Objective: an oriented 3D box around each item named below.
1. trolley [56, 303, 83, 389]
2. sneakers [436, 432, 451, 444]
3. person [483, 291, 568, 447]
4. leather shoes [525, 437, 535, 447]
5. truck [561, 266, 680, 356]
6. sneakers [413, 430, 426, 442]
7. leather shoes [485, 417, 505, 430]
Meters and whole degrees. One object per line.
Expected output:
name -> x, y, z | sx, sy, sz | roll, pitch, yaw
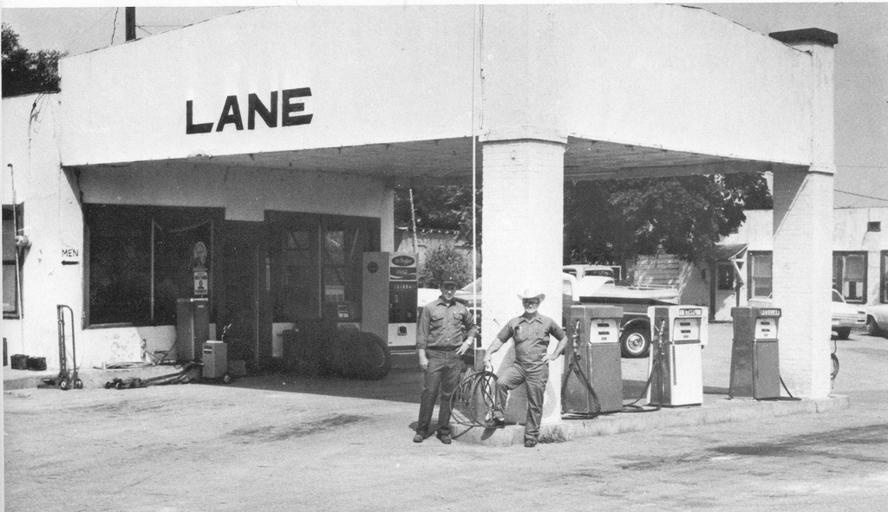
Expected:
trolley -> -8.774, 2.107, 25.088 | 0.580, 1.958, 0.534 | 2, 5, 38
sneakers -> -0.007, 3.451, 20.786 | 0.289, 0.193, 0.309 | -1, 11, -3
person -> 1.544, 2.081, 20.581 | 1.439, 2.920, 0.743 | 0, 12, 1
leather shoes -> 1.625, 3.514, 20.509 | 0.215, 0.167, 0.092 | 0, 12, 2
truck -> 5.749, 1.554, 32.210 | 3.888, 2.050, 2.335 | 1, -3, 1
sneakers -> -0.489, 3.436, 20.856 | 0.208, 0.177, 0.335 | 3, 11, 15
leather shoes -> 0.962, 3.191, 20.741 | 0.372, 0.155, 0.166 | 10, -11, -30
